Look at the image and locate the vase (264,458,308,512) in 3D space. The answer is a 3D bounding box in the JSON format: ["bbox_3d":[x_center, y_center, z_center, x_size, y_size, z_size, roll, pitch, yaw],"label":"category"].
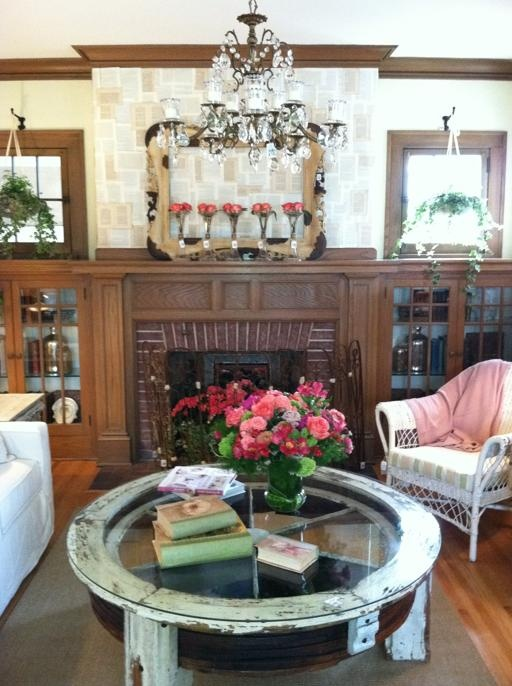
[{"bbox_3d":[0.104,0.506,2.139,0.152,0.190,0.147,0,1,-12],"label":"vase"}]

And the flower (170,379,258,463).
[{"bbox_3d":[-0.277,0.453,3.936,0.600,0.531,0.377,0,0,-34],"label":"flower"}]

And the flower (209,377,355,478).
[{"bbox_3d":[0.112,0.287,2.123,0.381,0.256,0.389,-18,9,-6],"label":"flower"}]
